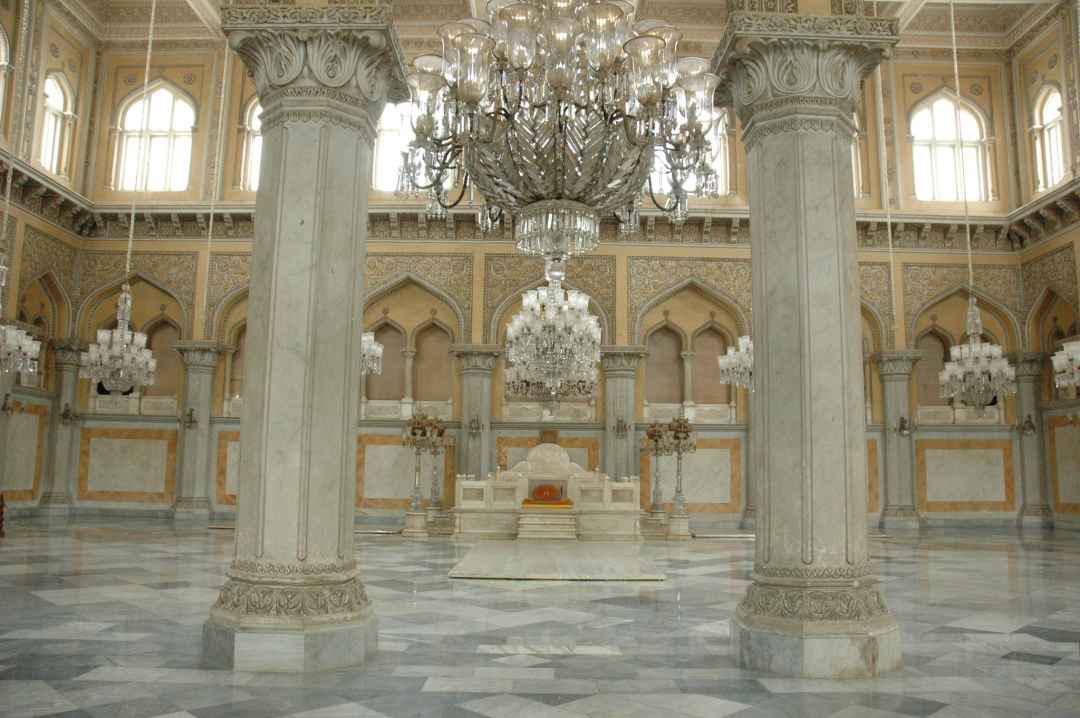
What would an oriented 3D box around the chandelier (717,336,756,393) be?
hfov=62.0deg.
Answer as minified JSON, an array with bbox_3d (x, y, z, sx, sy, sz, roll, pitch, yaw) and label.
[{"bbox_3d":[4.122,0.090,18.890,0.605,1.150,1.101,-1,-9,6],"label":"chandelier"}]

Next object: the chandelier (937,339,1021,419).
[{"bbox_3d":[8.592,0.299,17.647,1.044,1.246,1.139,0,-9,2],"label":"chandelier"}]

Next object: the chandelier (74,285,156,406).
[{"bbox_3d":[-8.054,-0.425,17.345,1.374,2.033,1.355,3,0,-28],"label":"chandelier"}]
